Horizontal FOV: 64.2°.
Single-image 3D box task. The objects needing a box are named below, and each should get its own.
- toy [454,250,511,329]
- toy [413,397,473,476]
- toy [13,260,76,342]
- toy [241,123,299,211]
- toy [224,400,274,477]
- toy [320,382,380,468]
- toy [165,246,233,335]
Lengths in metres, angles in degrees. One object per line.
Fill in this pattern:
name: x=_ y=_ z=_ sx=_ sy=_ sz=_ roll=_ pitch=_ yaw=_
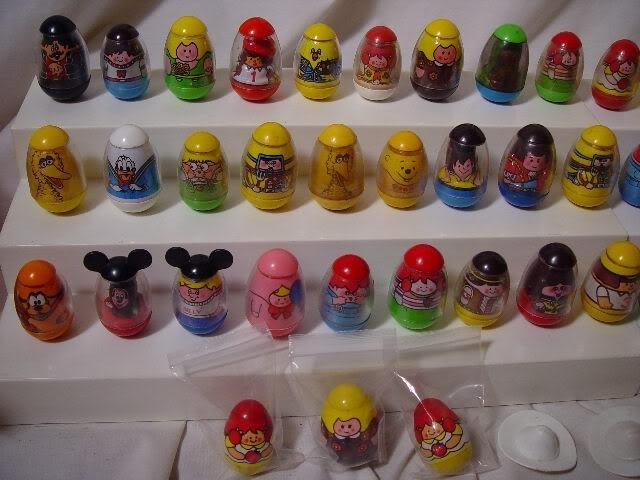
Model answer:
toy: x=0.390 y=0.124 z=1.222 sx=0.095 sy=0.173 sz=0.102 roll=13 pitch=35 yaw=17
toy: x=0.266 y=0.438 z=1.118 sx=0.093 sy=0.150 sz=0.083 roll=-27 pitch=-12 yaw=17
toy: x=-0.639 y=0.146 z=1.172 sx=0.097 sy=0.188 sz=0.105 roll=-11 pitch=32 yaw=-17
toy: x=-0.118 y=-0.218 z=1.333 sx=0.154 sy=0.284 sz=0.181 roll=2 pitch=36 yaw=-4
toy: x=-0.140 y=0.414 z=1.132 sx=0.119 sy=0.204 sz=0.130 roll=1 pitch=21 yaw=-3
toy: x=0.065 y=0.397 z=1.167 sx=0.134 sy=0.208 sz=0.154 roll=-3 pitch=22 yaw=1
toy: x=-0.281 y=0.119 z=1.180 sx=0.126 sy=0.222 sz=0.119 roll=3 pitch=33 yaw=-3
